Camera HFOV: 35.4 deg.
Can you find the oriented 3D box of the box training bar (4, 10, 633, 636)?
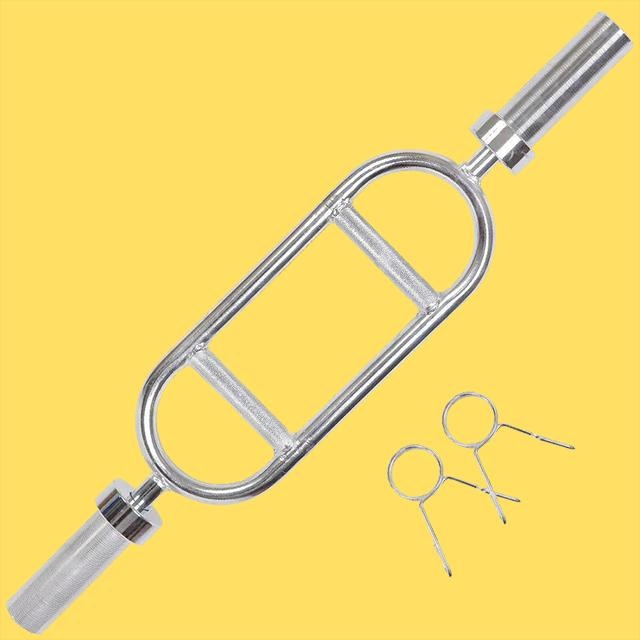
[{"bbox_3d":[0.014,0.018,1.797,1.385,0.311,0.137,-47,-1,-1],"label":"box training bar"}]
